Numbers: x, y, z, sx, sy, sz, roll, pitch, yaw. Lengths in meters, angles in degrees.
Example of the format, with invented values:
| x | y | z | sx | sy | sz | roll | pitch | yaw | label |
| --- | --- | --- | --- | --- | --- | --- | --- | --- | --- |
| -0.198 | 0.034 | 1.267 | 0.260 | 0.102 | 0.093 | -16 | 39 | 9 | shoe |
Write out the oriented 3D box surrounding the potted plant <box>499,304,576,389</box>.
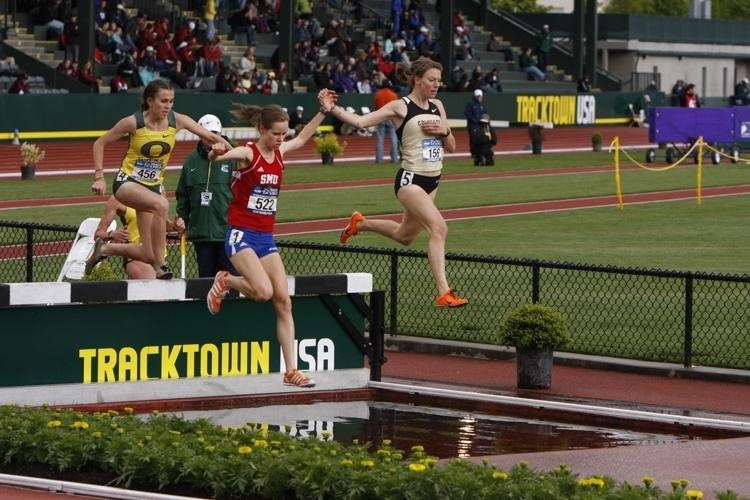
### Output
| x | y | z | sx | sy | sz | roll | pitch | yaw | label |
| --- | --- | --- | --- | --- | --- | --- | --- | --- | --- |
| 2.013 | 1.218 | 15.544 | 0.865 | 1.060 | 0.326 | -1 | 3 | 5 | potted plant |

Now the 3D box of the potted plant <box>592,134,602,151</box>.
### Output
| x | y | z | sx | sy | sz | roll | pitch | yaw | label |
| --- | --- | --- | --- | --- | --- | --- | --- | --- | --- |
| 8.806 | -4.277 | 48.746 | 0.349 | 0.726 | 1.675 | 0 | 4 | 10 | potted plant |

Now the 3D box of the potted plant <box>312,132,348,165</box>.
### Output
| x | y | z | sx | sy | sz | roll | pitch | yaw | label |
| --- | --- | --- | --- | --- | --- | --- | --- | --- | --- |
| -1.451 | -3.389 | 40.558 | 1.021 | 1.107 | 1.043 | 4 | 6 | 12 | potted plant |

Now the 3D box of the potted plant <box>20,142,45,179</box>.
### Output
| x | y | z | sx | sy | sz | roll | pitch | yaw | label |
| --- | --- | --- | --- | --- | --- | --- | --- | --- | --- |
| -9.820 | -2.557 | 35.151 | 0.614 | 1.031 | 2.172 | -2 | 4 | -15 | potted plant |

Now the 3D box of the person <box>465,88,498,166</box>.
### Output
| x | y | z | sx | sy | sz | roll | pitch | yaw | label |
| --- | --- | --- | --- | --- | --- | --- | --- | --- | --- |
| 3.449 | -4.085 | 40.459 | 0.959 | 2.566 | 1.253 | 1 | 0 | 18 | person |

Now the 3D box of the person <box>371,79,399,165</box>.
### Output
| x | y | z | sx | sy | sz | roll | pitch | yaw | label |
| --- | --- | --- | --- | --- | --- | --- | --- | --- | --- |
| 0.282 | -4.239 | 40.292 | 1.172 | 2.489 | 1.171 | -4 | 10 | -5 | person |
